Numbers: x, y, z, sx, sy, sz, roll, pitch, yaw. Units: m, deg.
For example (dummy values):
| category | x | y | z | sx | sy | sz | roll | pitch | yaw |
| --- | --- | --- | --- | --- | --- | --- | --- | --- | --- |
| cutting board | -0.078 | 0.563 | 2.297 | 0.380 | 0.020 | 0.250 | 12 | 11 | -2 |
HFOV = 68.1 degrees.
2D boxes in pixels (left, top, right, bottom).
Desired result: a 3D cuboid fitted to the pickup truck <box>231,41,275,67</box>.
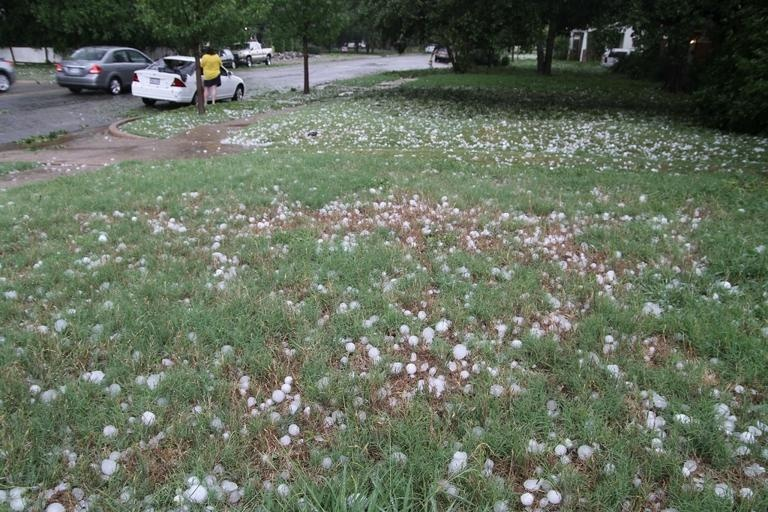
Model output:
| category | x | y | z | sx | sy | sz | roll | pitch | yaw |
| --- | --- | --- | --- | --- | --- | --- | --- | --- | --- |
| pickup truck | -10.155 | -15.305 | 43.356 | 1.498 | 1.326 | 3.580 | 10 | 31 | 15 |
